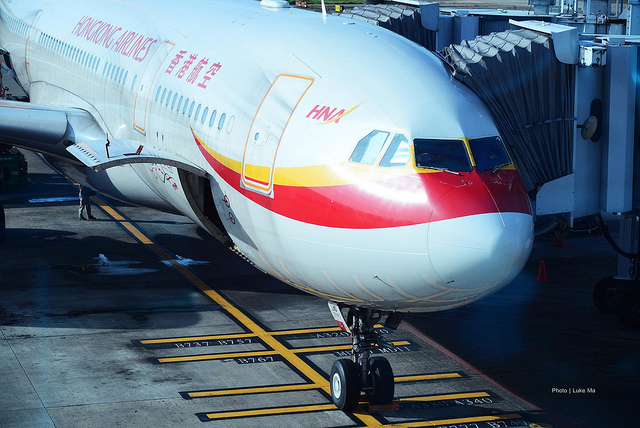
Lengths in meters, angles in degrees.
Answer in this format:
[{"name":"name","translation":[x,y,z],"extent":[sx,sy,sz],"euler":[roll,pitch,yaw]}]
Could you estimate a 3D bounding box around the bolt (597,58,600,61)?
[{"name":"bolt","translation":[6.188,-3.484,13.719],"extent":[0.047,0.055,0.015],"euler":[-6,16,-23]}]
